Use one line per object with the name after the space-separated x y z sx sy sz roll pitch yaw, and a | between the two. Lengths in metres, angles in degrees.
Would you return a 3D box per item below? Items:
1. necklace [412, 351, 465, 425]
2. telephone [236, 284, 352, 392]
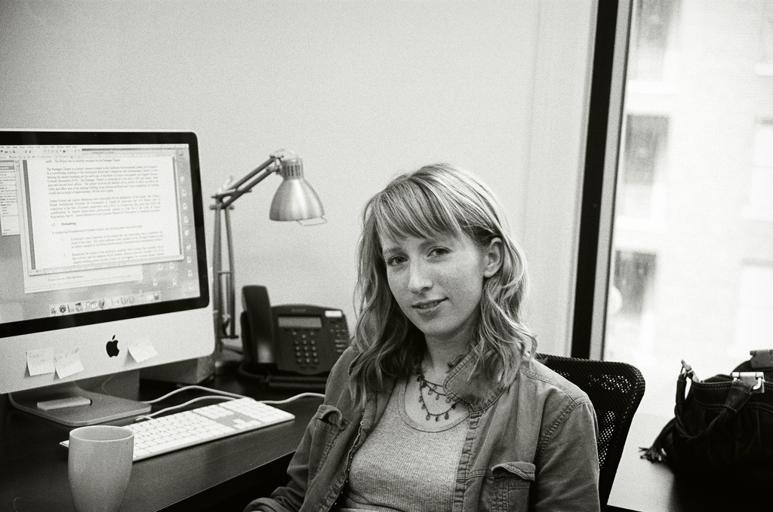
0.123 0.344 1.552 0.111 0.143 0.148 17 52 27 | necklace
-0.297 0.260 2.088 0.379 0.284 0.251 2 6 -18 | telephone
